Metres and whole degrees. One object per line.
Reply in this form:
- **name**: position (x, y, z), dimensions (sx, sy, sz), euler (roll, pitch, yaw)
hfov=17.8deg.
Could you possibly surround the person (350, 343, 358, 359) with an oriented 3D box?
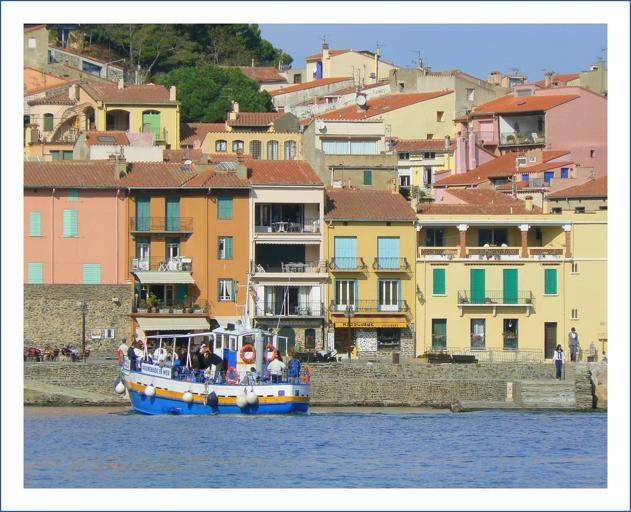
- **person**: position (2.464, 6.591, 145.521), dimensions (0.507, 1.064, 0.798), euler (2, -5, -9)

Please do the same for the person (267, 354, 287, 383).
- **person**: position (-2.826, 7.232, 133.962), dimensions (1.014, 1.945, 1.307), euler (-2, -5, 32)

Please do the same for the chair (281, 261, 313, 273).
- **chair**: position (-1.580, 0.585, 147.109), dimensions (2.389, 0.656, 0.765), euler (1, -5, -3)

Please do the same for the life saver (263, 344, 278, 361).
- **life saver**: position (-3.281, 6.291, 134.786), dimensions (0.309, 1.035, 0.970), euler (11, 27, 2)
